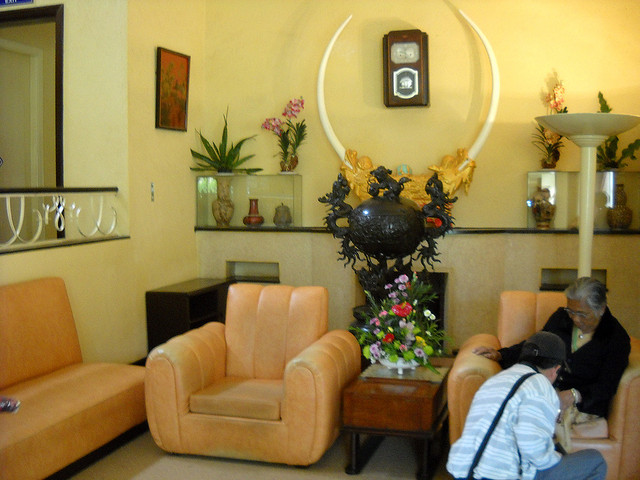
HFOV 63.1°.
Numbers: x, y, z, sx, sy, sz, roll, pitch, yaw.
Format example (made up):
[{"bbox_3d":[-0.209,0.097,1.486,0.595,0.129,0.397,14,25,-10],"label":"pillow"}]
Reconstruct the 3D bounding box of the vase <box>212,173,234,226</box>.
[{"bbox_3d":[-1.084,-0.447,5.805,0.222,0.582,0.105,-2,5,-12],"label":"vase"}]

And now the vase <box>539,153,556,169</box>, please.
[{"bbox_3d":[2.287,-0.787,5.190,0.137,0.146,0.120,-6,6,-10],"label":"vase"}]

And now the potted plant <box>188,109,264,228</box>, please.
[{"bbox_3d":[-1.091,-0.775,5.889,0.768,1.337,0.876,-4,-3,9],"label":"potted plant"}]

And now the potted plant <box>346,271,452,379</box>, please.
[{"bbox_3d":[0.576,0.546,3.536,0.634,0.586,0.613,-6,10,-44],"label":"potted plant"}]

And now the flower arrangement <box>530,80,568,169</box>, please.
[{"bbox_3d":[2.293,-1.153,5.223,0.322,0.888,0.168,1,5,18],"label":"flower arrangement"}]

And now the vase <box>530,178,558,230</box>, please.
[{"bbox_3d":[2.260,-0.333,5.294,0.256,0.497,0.244,-7,-9,27],"label":"vase"}]

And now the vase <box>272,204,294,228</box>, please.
[{"bbox_3d":[-0.395,-0.253,5.717,0.224,0.247,0.232,1,-3,1],"label":"vase"}]

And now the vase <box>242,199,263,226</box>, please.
[{"bbox_3d":[-0.732,-0.300,5.755,0.261,0.388,0.255,1,5,-3],"label":"vase"}]

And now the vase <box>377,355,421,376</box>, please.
[{"bbox_3d":[0.510,0.789,3.354,0.273,0.123,0.157,0,4,11],"label":"vase"}]

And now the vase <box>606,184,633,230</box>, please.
[{"bbox_3d":[2.911,-0.324,5.044,0.218,0.424,0.100,-1,5,2],"label":"vase"}]

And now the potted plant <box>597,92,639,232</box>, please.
[{"bbox_3d":[2.895,-0.766,5.057,0.379,1.367,0.389,2,6,26],"label":"potted plant"}]

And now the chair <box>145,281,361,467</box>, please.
[{"bbox_3d":[-0.430,0.876,3.664,1.256,1.039,0.977,0,2,16],"label":"chair"}]

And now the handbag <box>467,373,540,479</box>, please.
[{"bbox_3d":[0.705,0.748,2.106,0.233,0.416,0.075,24,-4,-37],"label":"handbag"}]

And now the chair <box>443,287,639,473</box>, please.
[{"bbox_3d":[1.265,0.766,3.096,1.116,1.108,1.116,-1,-4,22],"label":"chair"}]

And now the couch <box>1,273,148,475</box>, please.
[{"bbox_3d":[-1.702,0.914,3.539,0.826,1.123,1.132,0,3,16],"label":"couch"}]

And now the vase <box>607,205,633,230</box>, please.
[{"bbox_3d":[2.887,-0.198,5.058,0.210,0.269,0.219,-1,-7,16],"label":"vase"}]
